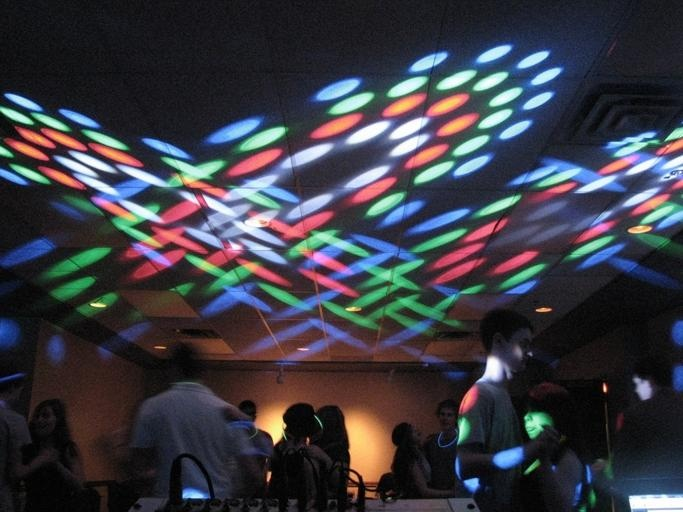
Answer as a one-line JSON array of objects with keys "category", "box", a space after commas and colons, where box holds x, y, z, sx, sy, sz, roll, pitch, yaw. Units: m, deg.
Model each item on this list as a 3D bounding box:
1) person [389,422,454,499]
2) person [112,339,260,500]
[{"category": "person", "box": [0.595, 1.611, 4.670, 0.368, 0.575, 0.394, -1, -29, 4]}, {"category": "person", "box": [-0.799, 0.957, 3.492, 0.747, 0.899, 0.287, 22, -37, -34]}]
